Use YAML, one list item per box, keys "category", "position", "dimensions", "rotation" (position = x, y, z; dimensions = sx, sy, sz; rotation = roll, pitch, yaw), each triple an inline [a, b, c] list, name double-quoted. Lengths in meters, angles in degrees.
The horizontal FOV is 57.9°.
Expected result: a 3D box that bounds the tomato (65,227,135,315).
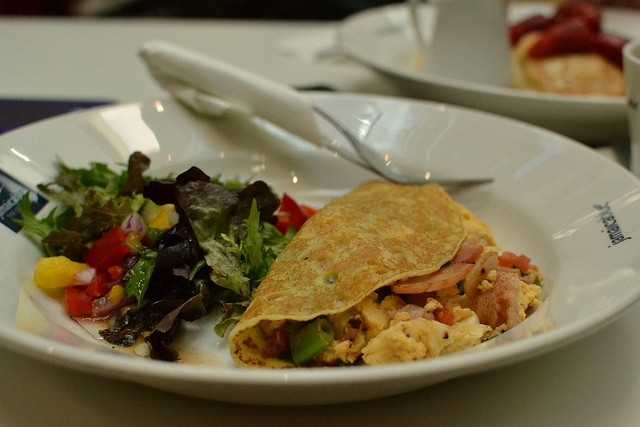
- category: "tomato"
  position: [-0.757, 0.194, 1.941]
  dimensions: [0.059, 0.168, 0.273]
  rotation: [5, 62, 32]
